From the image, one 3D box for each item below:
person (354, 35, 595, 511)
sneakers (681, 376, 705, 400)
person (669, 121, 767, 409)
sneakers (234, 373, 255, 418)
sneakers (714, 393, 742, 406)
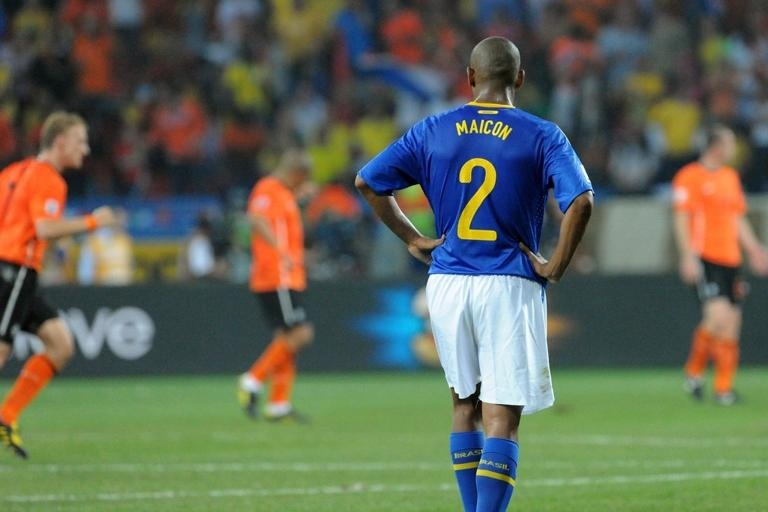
[{"bbox_3d":[0.782,0.125,9.235,1.439,3.628,0.970,7,11,45],"label":"person"},{"bbox_3d":[3.068,1.304,11.714,0.196,0.284,0.316,1,8,14],"label":"sneakers"},{"bbox_3d":[3.297,0.077,11.788,0.858,2.702,0.992,6,11,44],"label":"person"},{"bbox_3d":[-1.389,1.439,12.168,0.209,0.177,0.424,-11,17,8],"label":"sneakers"},{"bbox_3d":[3.366,1.394,11.600,0.242,0.146,0.086,-5,9,-26],"label":"sneakers"}]
